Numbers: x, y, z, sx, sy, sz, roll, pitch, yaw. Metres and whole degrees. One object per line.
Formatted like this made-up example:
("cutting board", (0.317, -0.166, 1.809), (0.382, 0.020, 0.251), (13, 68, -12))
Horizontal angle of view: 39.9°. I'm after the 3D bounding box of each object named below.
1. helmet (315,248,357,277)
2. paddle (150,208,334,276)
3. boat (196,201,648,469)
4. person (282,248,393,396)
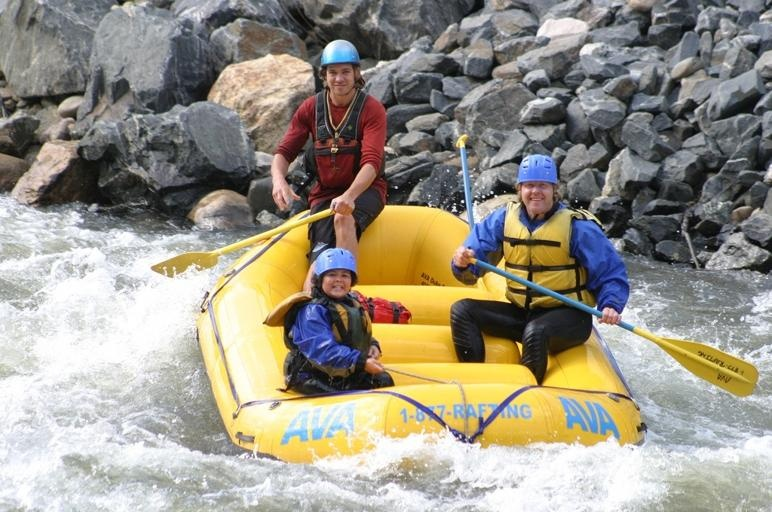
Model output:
("helmet", (-0.475, 0.062, 10.125), (0.243, 0.348, 0.259), (3, 58, -17))
("paddle", (-1.706, -0.138, 12.379), (1.814, 0.268, 0.133), (-24, 17, 7))
("boat", (0.167, 0.794, 10.810), (4.161, 1.326, 2.662), (0, 27, -4))
("person", (-0.495, 0.648, 10.287), (0.948, 1.474, 1.148), (-2, 5, -34))
